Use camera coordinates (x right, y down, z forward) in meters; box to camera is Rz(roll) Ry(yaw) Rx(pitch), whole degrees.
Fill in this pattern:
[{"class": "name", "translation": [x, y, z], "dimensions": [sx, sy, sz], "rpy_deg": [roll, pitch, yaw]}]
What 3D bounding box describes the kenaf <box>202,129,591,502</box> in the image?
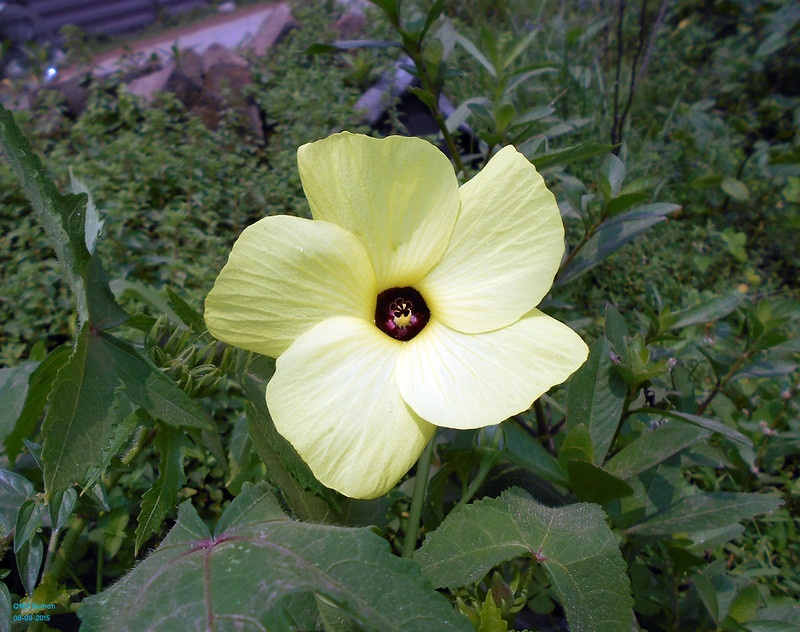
[{"class": "kenaf", "translation": [-0.018, -0.035, 1.813], "dimensions": [0.927, 0.416, 1.197], "rpy_deg": [-8, 51, 5]}]
